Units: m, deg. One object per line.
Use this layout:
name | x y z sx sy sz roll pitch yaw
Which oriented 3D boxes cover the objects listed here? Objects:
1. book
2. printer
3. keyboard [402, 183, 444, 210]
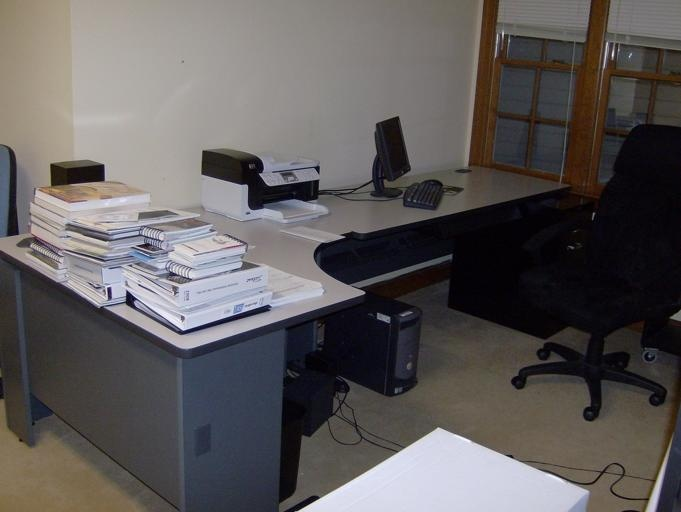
book | -0.690 -0.038 2.213 1.120 0.358 0.574 12 21 29
printer | -0.452 -0.420 3.147 0.440 0.450 0.648 20 23 40
keyboard | 0.499 -0.363 3.389 0.170 0.071 0.241 14 33 17
